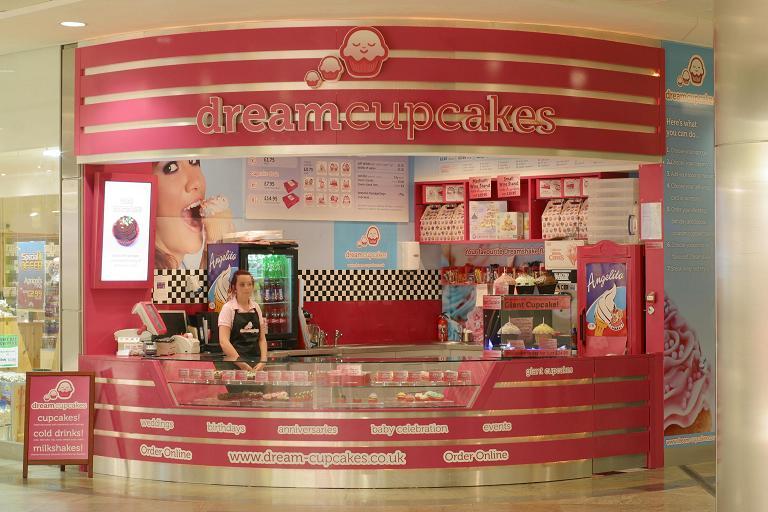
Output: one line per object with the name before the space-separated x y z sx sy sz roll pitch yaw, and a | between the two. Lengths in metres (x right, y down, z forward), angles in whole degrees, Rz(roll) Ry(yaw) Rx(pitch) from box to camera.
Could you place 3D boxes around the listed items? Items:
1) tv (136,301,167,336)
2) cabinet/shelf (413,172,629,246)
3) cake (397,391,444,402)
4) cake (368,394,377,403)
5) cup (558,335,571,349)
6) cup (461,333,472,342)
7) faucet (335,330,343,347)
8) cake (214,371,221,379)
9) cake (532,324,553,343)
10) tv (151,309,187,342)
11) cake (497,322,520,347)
tv | -2.774 0.764 8.295 0.341 0.419 0.367 -1 1 37
cabinet/shelf | 2.035 -0.677 10.273 3.183 0.893 0.435 0 8 19
cake | 0.394 1.514 7.443 0.499 0.112 0.027 -1 0 -3
cake | -0.124 1.528 7.410 0.090 0.070 0.087 -1 0 6
cup | 2.067 0.977 7.870 0.162 0.144 0.149 0 -4 0
cup | 1.279 1.251 10.615 0.142 0.136 0.139 0 -3 0
faucet | -0.716 1.228 10.500 0.081 0.224 0.129 -1 0 19
cake | -1.830 1.300 7.555 0.078 0.048 0.079 -2 -2 2
cake | 1.820 0.879 7.865 0.213 0.168 0.204 -2 1 -10
tv | -2.674 0.865 8.482 0.132 0.359 0.379 -19 -6 37
cake | 1.438 0.895 7.891 0.254 0.230 0.251 -2 -2 25
